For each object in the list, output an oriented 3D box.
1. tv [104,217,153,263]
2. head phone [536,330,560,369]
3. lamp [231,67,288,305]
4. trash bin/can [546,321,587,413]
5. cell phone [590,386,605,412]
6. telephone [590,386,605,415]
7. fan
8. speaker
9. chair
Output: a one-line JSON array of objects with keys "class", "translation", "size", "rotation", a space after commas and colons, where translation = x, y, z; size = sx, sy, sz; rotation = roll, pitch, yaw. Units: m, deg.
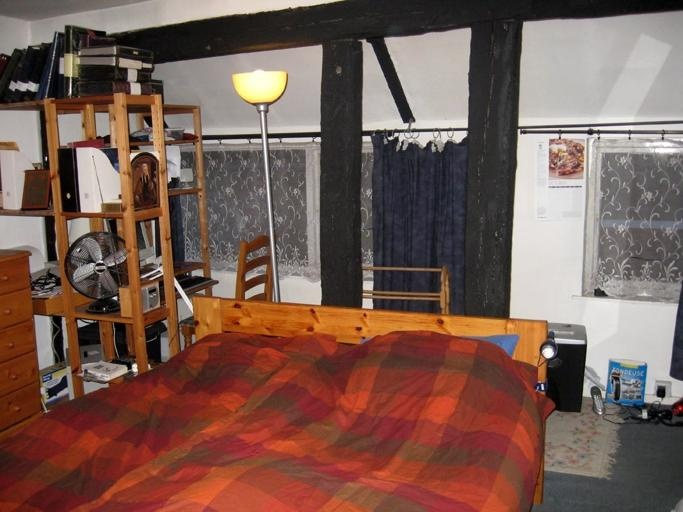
[{"class": "tv", "translation": [-1.510, -0.173, 3.715], "size": [0.216, 0.243, 0.320], "rotation": [-11, -11, 29]}, {"class": "head phone", "translation": [1.149, 0.485, 2.908], "size": [0.116, 0.182, 0.358], "rotation": [4, 12, 26]}, {"class": "lamp", "translation": [-0.494, -0.415, 3.230], "size": [0.304, 1.402, 0.517], "rotation": [0, 5, -9]}, {"class": "trash bin/can", "translation": [1.650, 0.798, 3.989], "size": [0.400, 0.502, 0.409], "rotation": [2, 14, 31]}, {"class": "cell phone", "translation": [1.892, 1.065, 3.904], "size": [0.070, 0.074, 0.204], "rotation": [-1, 47, 10]}, {"class": "telephone", "translation": [1.872, 1.058, 3.890], "size": [0.075, 0.063, 0.212], "rotation": [0, 48, 11]}, {"class": "fan", "translation": [-1.529, 0.096, 3.345], "size": [0.371, 0.482, 0.272], "rotation": [-5, 7, -31]}, {"class": "speaker", "translation": [1.652, 0.810, 4.002], "size": [0.415, 0.525, 0.424], "rotation": [6, 14, 41]}, {"class": "chair", "translation": [-0.834, 0.353, 4.018], "size": [0.490, 0.947, 0.525], "rotation": [-1, 4, 13]}]
